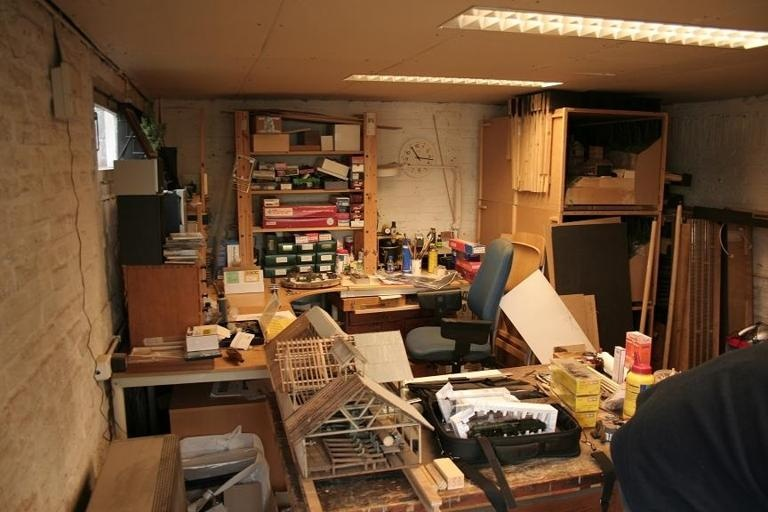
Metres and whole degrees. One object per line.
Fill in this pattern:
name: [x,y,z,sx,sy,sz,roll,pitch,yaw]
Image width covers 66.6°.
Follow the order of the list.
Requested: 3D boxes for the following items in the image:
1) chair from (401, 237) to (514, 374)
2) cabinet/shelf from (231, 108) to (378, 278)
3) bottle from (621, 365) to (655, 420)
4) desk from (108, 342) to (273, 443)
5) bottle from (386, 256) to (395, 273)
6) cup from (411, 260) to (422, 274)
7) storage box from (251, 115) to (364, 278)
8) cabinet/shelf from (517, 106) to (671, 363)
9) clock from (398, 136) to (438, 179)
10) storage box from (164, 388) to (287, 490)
chair: [0.673,0.355,4.644,1.088,1.190,0.798,3,7,-1]
cabinet/shelf: [-0.802,-0.629,5.607,1.778,1.889,0.587,-2,5,-17]
bottle: [1.300,0.691,3.001,0.145,0.301,0.283,0,7,22]
desk: [-1.262,0.702,3.938,0.930,0.791,0.648,-2,16,-10]
bottle: [0.062,0.067,5.816,0.084,0.147,0.157,-3,7,0]
cup: [0.308,0.100,5.712,0.127,0.134,0.125,-1,12,0]
storage box: [-0.732,-0.605,5.657,1.366,1.561,0.651,-4,7,-13]
cabinet/shelf: [2.022,-0.266,5.597,1.239,2.193,0.705,-4,7,-11]
clock: [0.358,-1.065,6.267,0.483,0.443,0.031,-5,10,-29]
storage box: [-0.975,1.167,3.648,0.840,0.751,0.429,-6,-21,-8]
